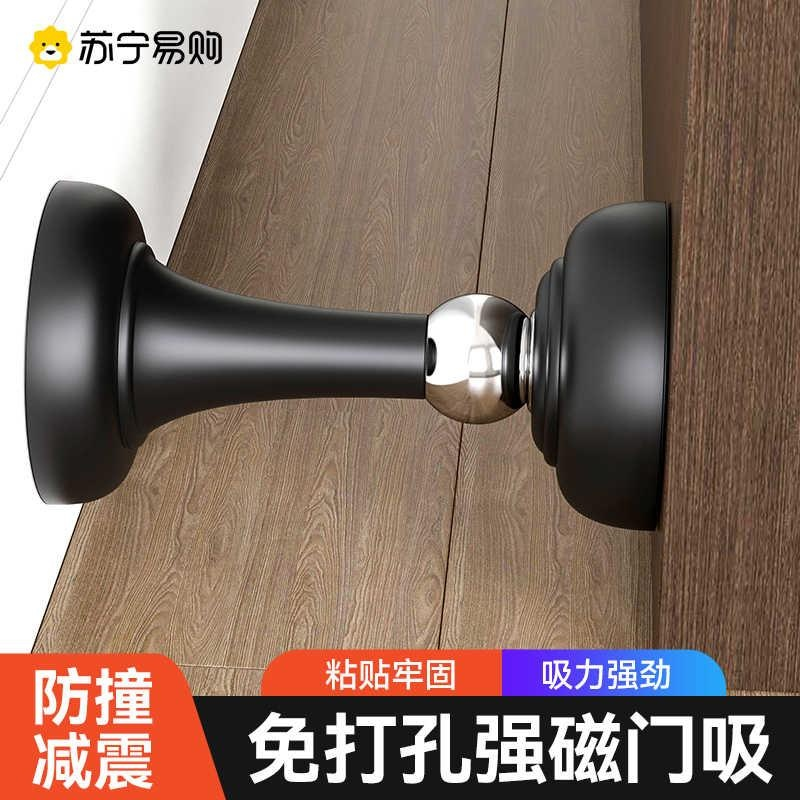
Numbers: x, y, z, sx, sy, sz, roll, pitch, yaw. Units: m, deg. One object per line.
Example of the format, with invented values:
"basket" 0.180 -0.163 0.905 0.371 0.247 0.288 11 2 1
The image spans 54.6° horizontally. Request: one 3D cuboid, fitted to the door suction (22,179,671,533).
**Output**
"door suction" -0.029 -0.053 0.542 0.338 0.280 0.237 3 22 7
